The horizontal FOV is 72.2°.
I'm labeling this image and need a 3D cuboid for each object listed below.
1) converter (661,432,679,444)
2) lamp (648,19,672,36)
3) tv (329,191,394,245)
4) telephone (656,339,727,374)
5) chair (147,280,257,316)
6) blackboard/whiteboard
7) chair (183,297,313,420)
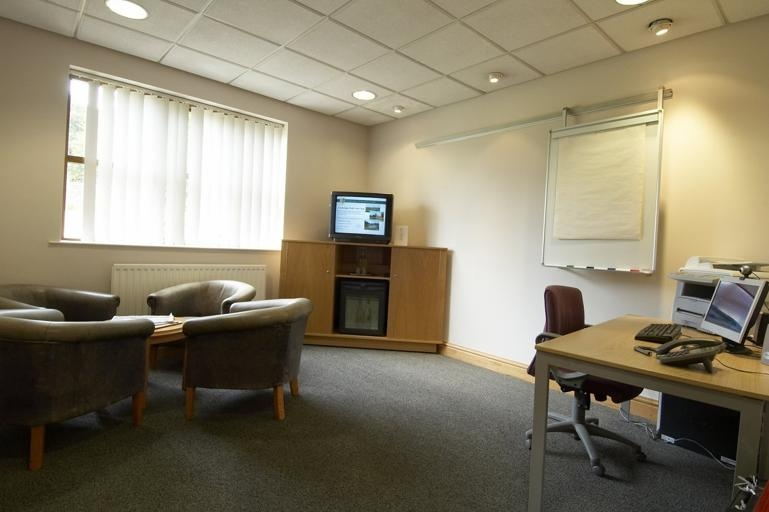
[{"bbox_3d":[2.515,1.616,4.655,0.023,0.078,0.092,-7,12,-40],"label":"converter"},{"bbox_3d":[2.563,-2.123,4.882,0.194,0.075,0.263,6,6,40],"label":"lamp"},{"bbox_3d":[-0.208,-0.432,7.195,1.171,0.893,0.612,2,-2,2],"label":"tv"},{"bbox_3d":[2.047,0.664,3.559,0.296,0.119,0.261,1,3,37],"label":"telephone"},{"bbox_3d":[-2.061,0.463,5.913,0.675,0.541,0.619,1,-11,2],"label":"chair"},{"bbox_3d":[2.199,-0.686,5.377,1.132,1.625,0.192,6,6,43],"label":"blackboard/whiteboard"},{"bbox_3d":[-1.154,0.898,5.032,1.137,0.961,1.153,1,-6,1],"label":"chair"}]
